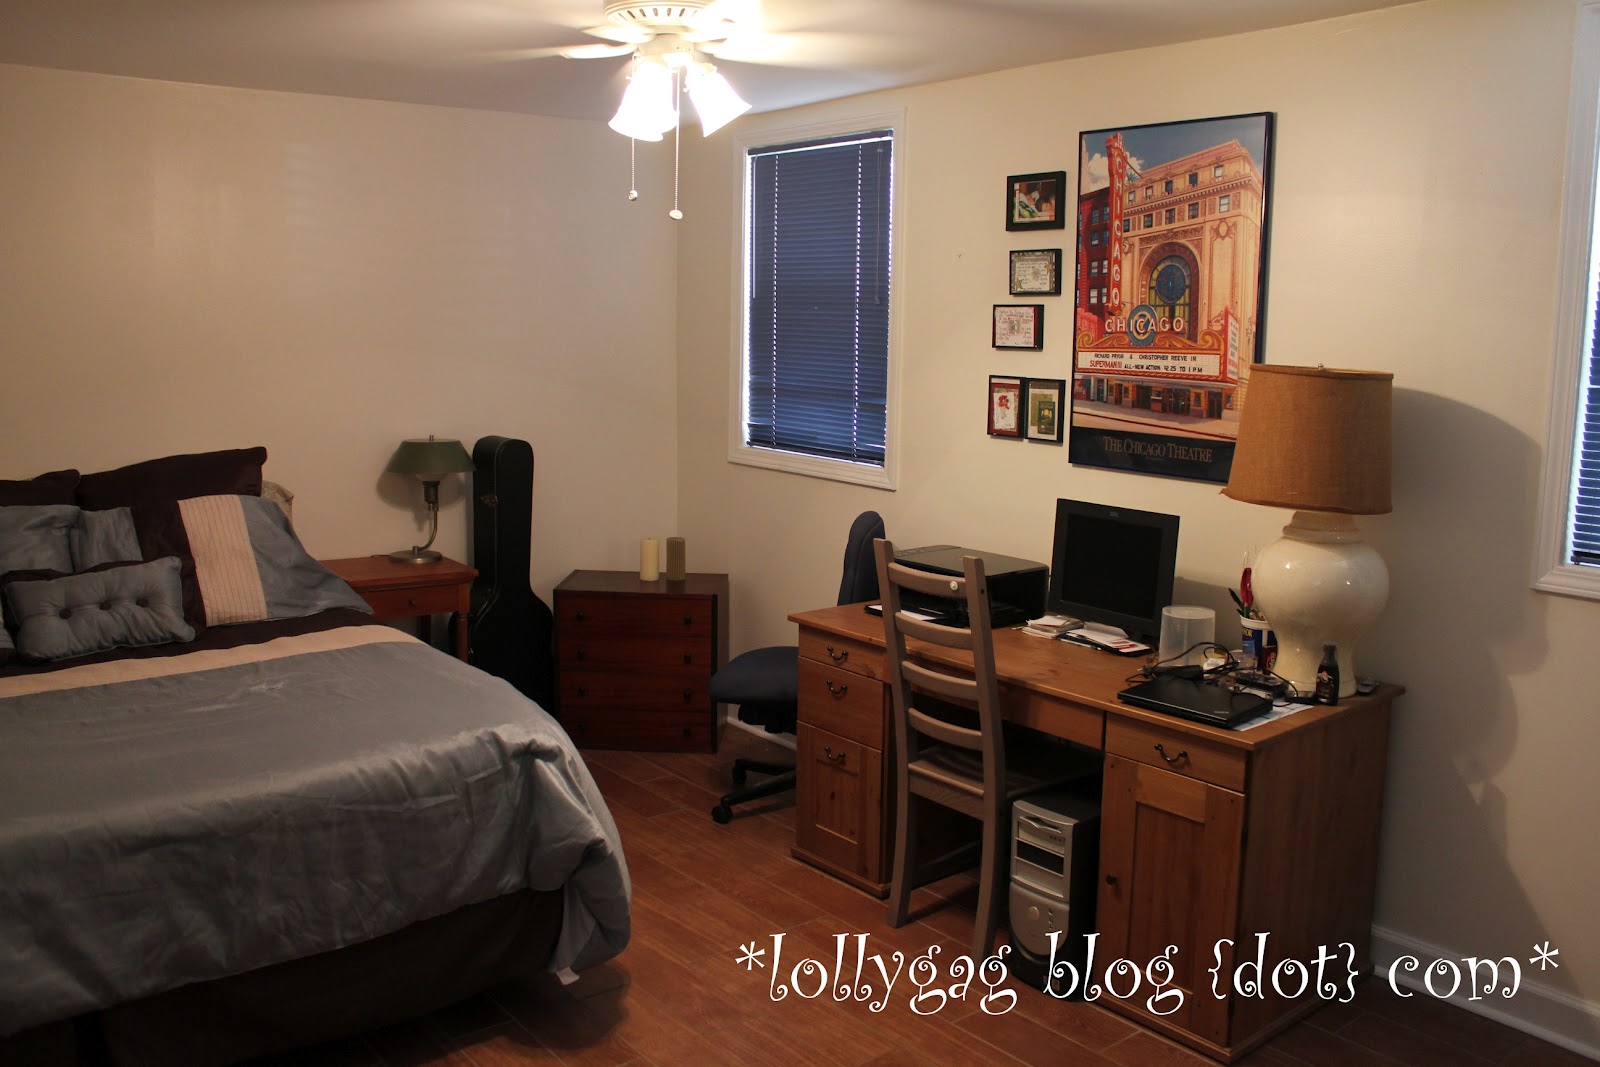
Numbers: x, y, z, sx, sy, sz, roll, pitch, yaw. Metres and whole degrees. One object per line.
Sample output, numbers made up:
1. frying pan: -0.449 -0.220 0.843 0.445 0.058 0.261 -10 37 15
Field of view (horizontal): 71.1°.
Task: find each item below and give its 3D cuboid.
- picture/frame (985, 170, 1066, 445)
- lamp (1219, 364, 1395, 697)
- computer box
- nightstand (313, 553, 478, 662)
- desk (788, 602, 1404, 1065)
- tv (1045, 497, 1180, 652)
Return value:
1. picture/frame: 0.947 -0.915 4.519 0.350 1.062 0.117 9 15 39
2. lamp: 1.639 -0.004 3.603 0.487 1.061 0.239 6 13 28
3. computer box: 0.919 1.254 3.946 0.289 0.550 0.436 6 3 38
4. nightstand: -1.866 0.173 5.250 0.652 0.635 0.476 -7 13 -42
5. desk: 1.165 0.629 3.931 1.246 1.223 2.277 -6 10 -40
6. tv: 1.174 0.157 4.129 0.172 0.498 0.478 -5 12 -44
